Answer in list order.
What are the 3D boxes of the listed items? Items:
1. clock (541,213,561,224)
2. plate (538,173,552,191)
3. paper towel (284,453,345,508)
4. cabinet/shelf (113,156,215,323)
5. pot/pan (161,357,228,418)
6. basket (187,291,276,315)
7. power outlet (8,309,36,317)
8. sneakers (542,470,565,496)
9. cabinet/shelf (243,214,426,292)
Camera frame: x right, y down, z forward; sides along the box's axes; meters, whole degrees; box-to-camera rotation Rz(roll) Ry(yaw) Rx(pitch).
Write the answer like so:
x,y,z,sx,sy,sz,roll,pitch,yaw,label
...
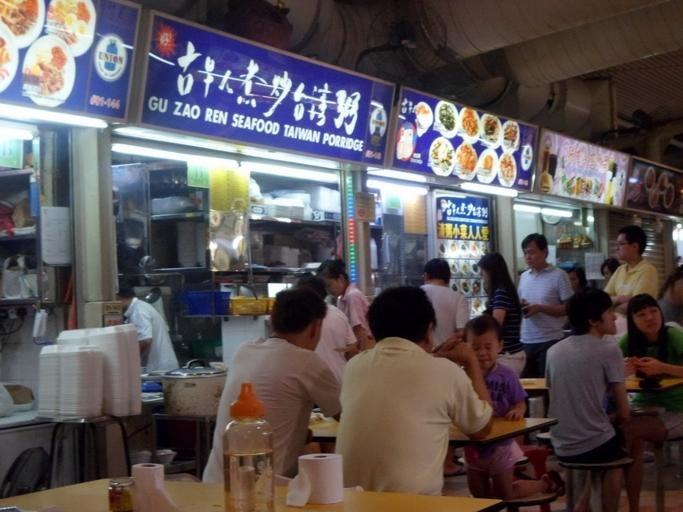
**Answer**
x,y,z,sx,sy,sz,roll,pitch,yaw,label
3.225,-0.572,9.153,0.208,0.197,0.050,6,2,-38,clock
2.747,-0.998,7.979,0.187,0.254,0.155,-3,11,-26,plate
-0.099,0.794,2.123,0.183,0.137,0.185,-1,-2,7,paper towel
-1.633,-0.121,5.297,0.866,1.472,0.668,2,-4,-31,cabinet/shelf
-1.042,0.932,4.204,0.390,0.284,0.359,-4,-6,43,pot/pan
-1.072,0.441,5.411,0.429,0.170,0.332,0,-1,19,basket
-2.384,0.425,4.436,0.178,0.071,0.092,0,-3,2,power outlet
1.342,1.461,3.761,0.118,0.099,0.307,3,-3,10,sneakers
-0.038,-0.058,6.636,1.973,0.716,0.529,-1,6,-13,cabinet/shelf
